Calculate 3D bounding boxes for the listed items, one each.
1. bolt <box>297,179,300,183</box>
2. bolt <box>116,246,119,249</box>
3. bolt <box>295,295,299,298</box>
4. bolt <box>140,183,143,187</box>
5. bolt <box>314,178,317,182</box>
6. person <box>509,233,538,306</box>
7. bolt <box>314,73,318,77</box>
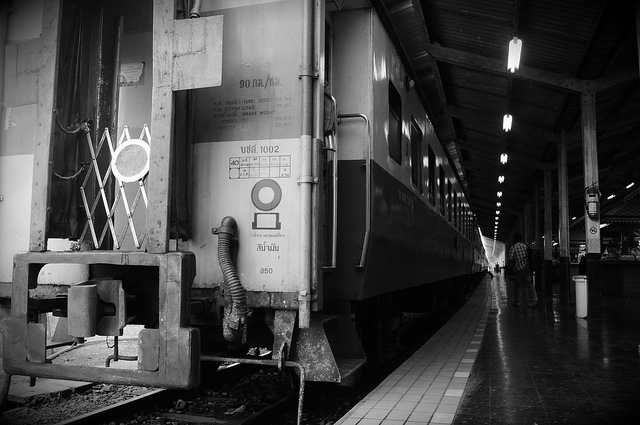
[{"bbox_3d":[-0.212,-0.316,5.346,0.008,0.035,0.040,5,-10,-37],"label":"bolt"},{"bbox_3d":[-2.102,0.364,5.589,0.025,0.027,0.027,3,-9,-26],"label":"bolt"},{"bbox_3d":[-0.225,0.828,5.294,0.027,0.030,0.007,3,-5,15],"label":"bolt"},{"bbox_3d":[-1.804,-0.285,5.432,0.035,0.037,0.009,1,1,-3],"label":"bolt"},{"bbox_3d":[-0.042,-0.322,5.318,0.028,0.039,0.007,5,-9,-33],"label":"bolt"},{"bbox_3d":[5.387,1.511,14.307,0.609,1.935,1.457,-3,-8,21],"label":"person"},{"bbox_3d":[-0.043,-1.388,5.409,0.030,0.034,0.007,1,3,0],"label":"bolt"}]
